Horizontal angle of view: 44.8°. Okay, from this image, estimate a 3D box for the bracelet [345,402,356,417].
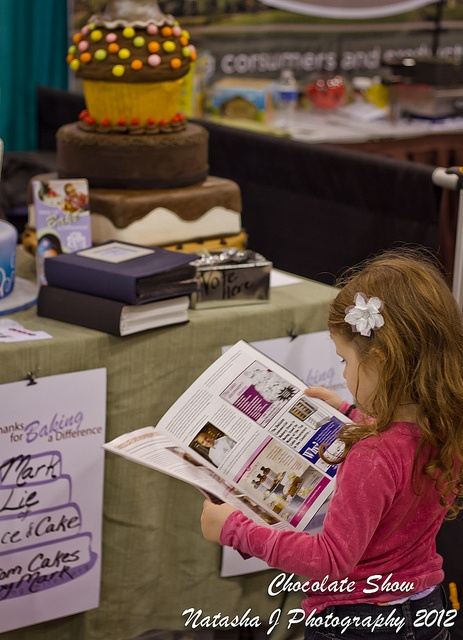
[{"bbox_3d":[0.182,0.140,0.877,0.005,0.016,0.017,31,-9,3],"label":"bracelet"}]

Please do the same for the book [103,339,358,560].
[{"bbox_3d":[0.011,0.180,0.803,0.231,0.087,0.242,33,41,20],"label":"book"}]
